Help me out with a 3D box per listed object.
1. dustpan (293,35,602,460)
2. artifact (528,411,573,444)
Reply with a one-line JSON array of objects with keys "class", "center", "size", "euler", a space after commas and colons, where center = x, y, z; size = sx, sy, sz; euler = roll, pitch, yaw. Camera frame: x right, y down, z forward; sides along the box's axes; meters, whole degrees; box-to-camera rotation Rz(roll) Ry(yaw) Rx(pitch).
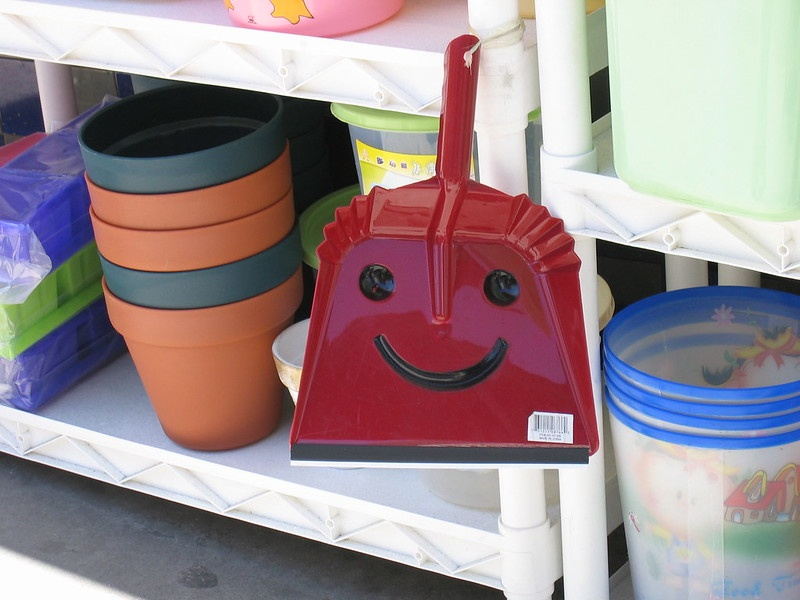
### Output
[{"class": "dustpan", "center": [0.055, -0.073, 0.982], "size": [0.329, 0.469, 0.273], "euler": [1, -6, 6]}, {"class": "artifact", "center": [0.166, 0.139, 0.944], "size": [0.048, 0.033, 0.012], "euler": [3, -4, 12]}]
